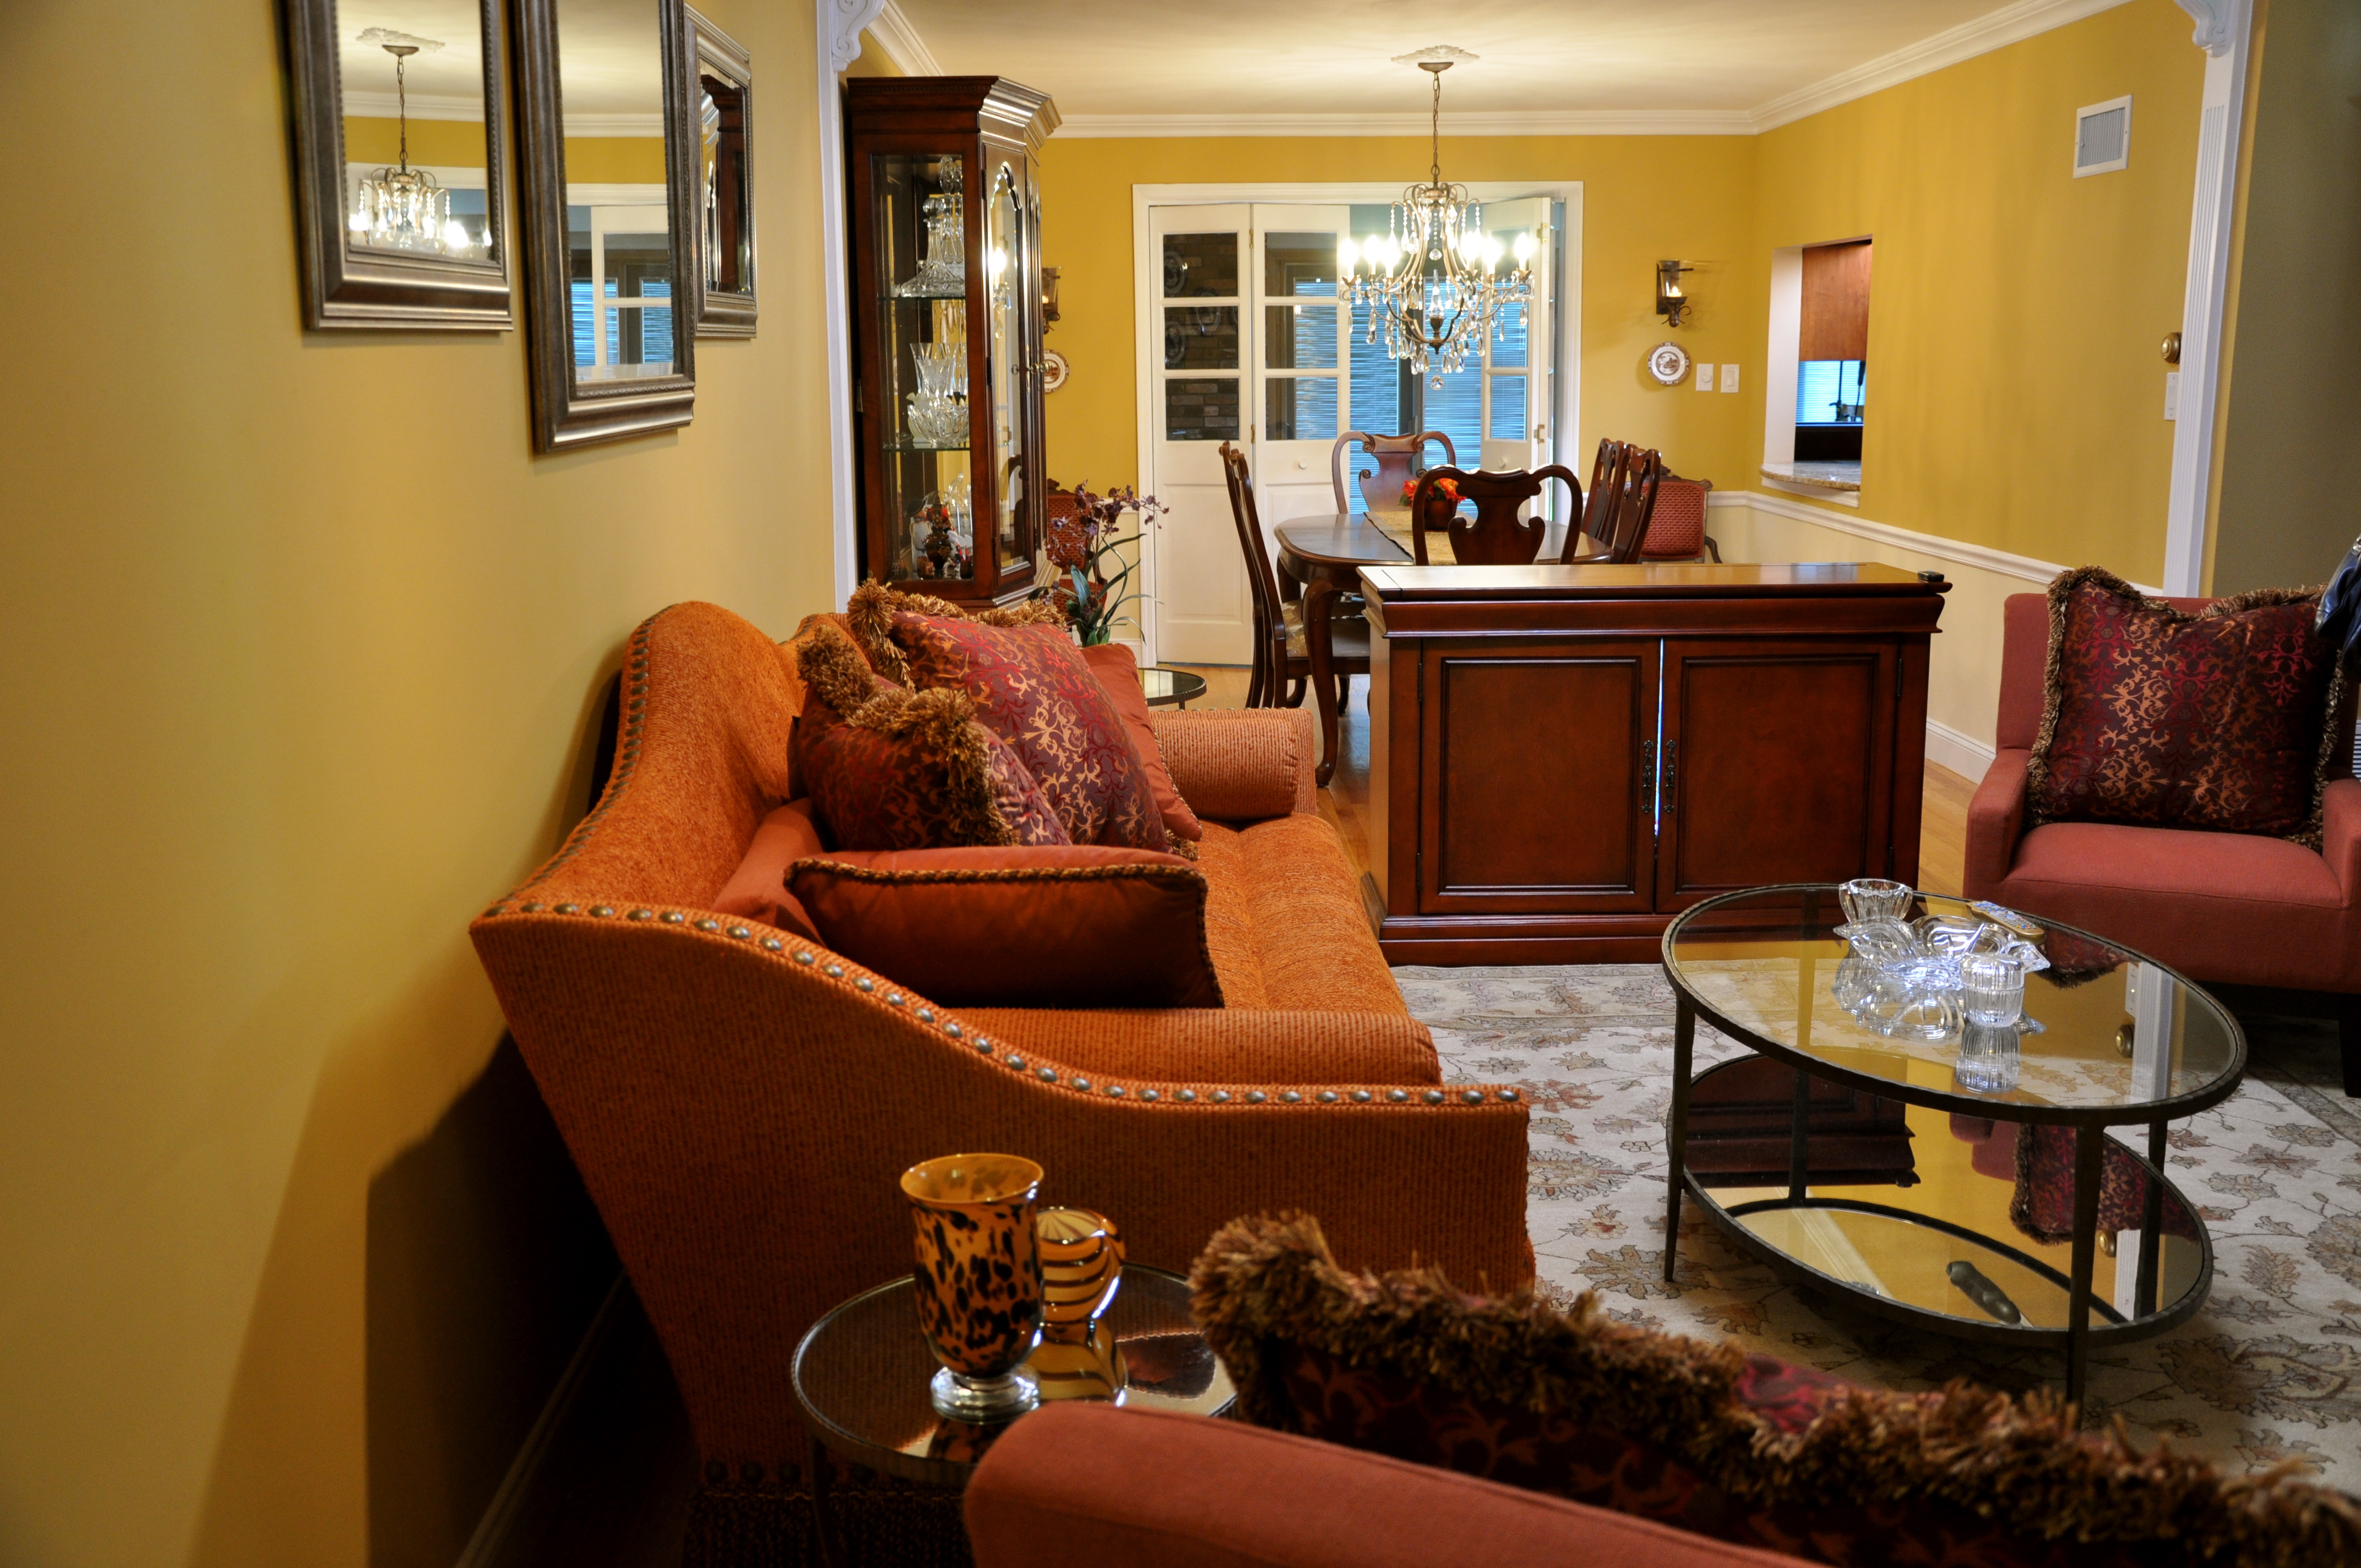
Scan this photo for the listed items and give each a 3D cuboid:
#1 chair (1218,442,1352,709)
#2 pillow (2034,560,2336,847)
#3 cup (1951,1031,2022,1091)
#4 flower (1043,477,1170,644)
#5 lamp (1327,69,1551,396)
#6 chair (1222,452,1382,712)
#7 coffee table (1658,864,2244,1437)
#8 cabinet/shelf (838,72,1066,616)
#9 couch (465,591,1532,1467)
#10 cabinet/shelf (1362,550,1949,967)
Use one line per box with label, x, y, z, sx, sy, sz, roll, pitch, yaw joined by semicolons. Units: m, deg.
chair;0.600;-0.774;7.217;0.785;1.193;0.735;-1;10;5
pillow;2.417;-0.161;4.146;0.620;0.617;0.215;7;-6;21
cup;1.323;0.459;2.808;0.093;0.093;0.095;0;2;0
flower;-0.337;-0.858;6.514;0.385;0.608;0.505;17;8;34
lamp;1.204;-2.648;8.154;0.900;1.459;0.946;0;16;5
chair;0.583;-0.755;7.265;0.777;1.257;0.755;-1;5;5
coffee table;1.345;0.597;3.010;0.845;0.574;1.028;-1;20;3
cabinet/shelf;-0.661;-1.338;5.262;0.372;1.531;0.757;10;19;38
couch;-0.295;0.310;3.281;1.437;1.104;2.137;1;15;-7
cabinet/shelf;1.228;-0.047;4.515;1.027;0.717;0.367;0;7;0
